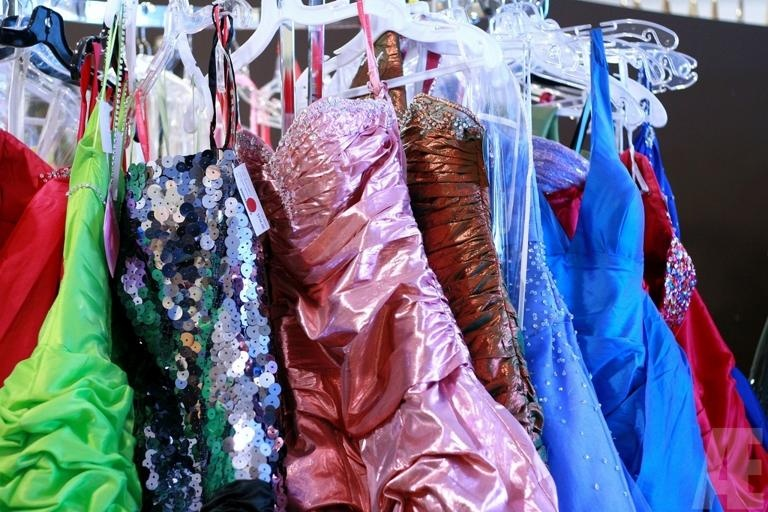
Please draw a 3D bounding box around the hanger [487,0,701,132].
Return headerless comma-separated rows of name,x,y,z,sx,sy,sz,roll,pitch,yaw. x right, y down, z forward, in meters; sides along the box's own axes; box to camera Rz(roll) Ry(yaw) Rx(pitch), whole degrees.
hanger,0.670,-0.624,3.082,0.502,0.183,0.506,-15,40,-29
